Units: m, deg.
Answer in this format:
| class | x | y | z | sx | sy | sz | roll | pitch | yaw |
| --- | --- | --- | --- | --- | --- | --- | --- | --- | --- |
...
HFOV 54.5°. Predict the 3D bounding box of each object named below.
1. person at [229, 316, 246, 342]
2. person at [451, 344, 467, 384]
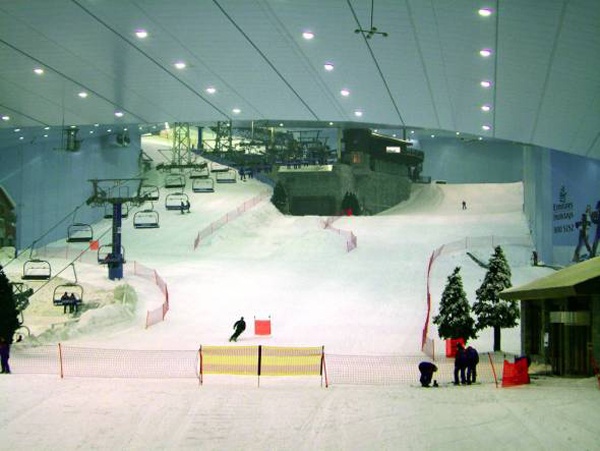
| class | x | y | z | sx | sy | sz | roll | pitch | yaw |
| --- | --- | --- | --- | --- | --- | --- | --- | --- | --- |
| person | -2.634 | 4.359 | 24.408 | 0.630 | 1.249 | 1.758 | -3 | 11 | -7 |
| person | 4.633 | 3.915 | 16.788 | 0.434 | 1.099 | 1.150 | -1 | -8 | 14 |
